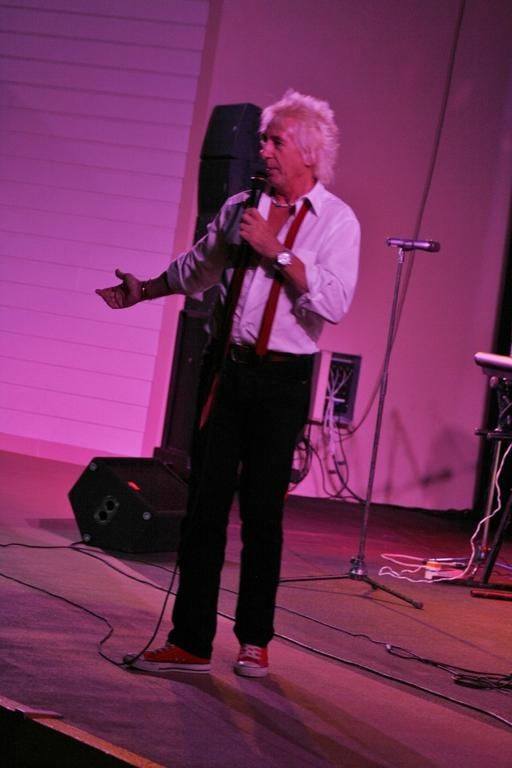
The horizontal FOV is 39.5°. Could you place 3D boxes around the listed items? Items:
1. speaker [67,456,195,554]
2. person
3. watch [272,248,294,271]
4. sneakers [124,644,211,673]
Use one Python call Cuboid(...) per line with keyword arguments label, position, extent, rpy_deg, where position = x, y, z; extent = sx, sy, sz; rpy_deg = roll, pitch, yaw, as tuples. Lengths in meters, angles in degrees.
Cuboid(label="speaker", position=(-0.455, 0.457, 2.735), extent=(0.405, 0.297, 0.457), rpy_deg=(6, -4, 25))
Cuboid(label="person", position=(-0.022, -0.022, 1.741), extent=(0.434, 1.357, 0.454), rpy_deg=(13, -2, -17))
Cuboid(label="watch", position=(0.057, -0.270, 1.533), extent=(0.037, 0.041, 0.032), rpy_deg=(11, -2, -1))
Cuboid(label="sneakers", position=(-0.206, 0.644, 1.691), extent=(0.206, 0.073, 0.067), rpy_deg=(7, -17, -12))
